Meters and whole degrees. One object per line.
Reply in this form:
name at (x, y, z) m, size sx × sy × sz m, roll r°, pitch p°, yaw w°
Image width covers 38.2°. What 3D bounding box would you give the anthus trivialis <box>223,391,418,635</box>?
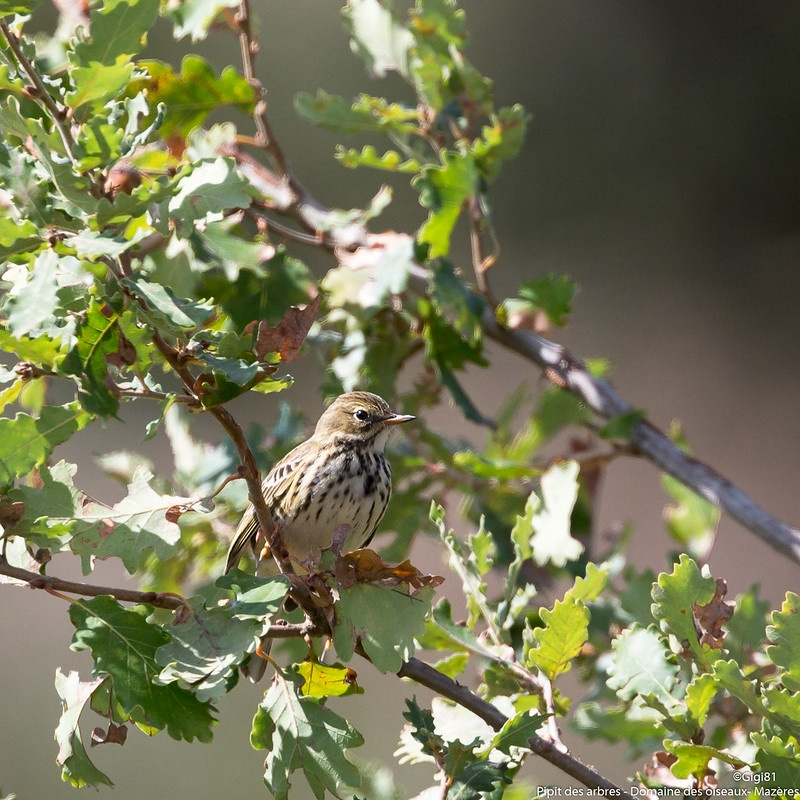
anthus trivialis at (-0.271, 0.300, 3.921) m, size 0.715 × 0.626 × 0.403 m, roll -5°, pitch -12°, yaw 44°
